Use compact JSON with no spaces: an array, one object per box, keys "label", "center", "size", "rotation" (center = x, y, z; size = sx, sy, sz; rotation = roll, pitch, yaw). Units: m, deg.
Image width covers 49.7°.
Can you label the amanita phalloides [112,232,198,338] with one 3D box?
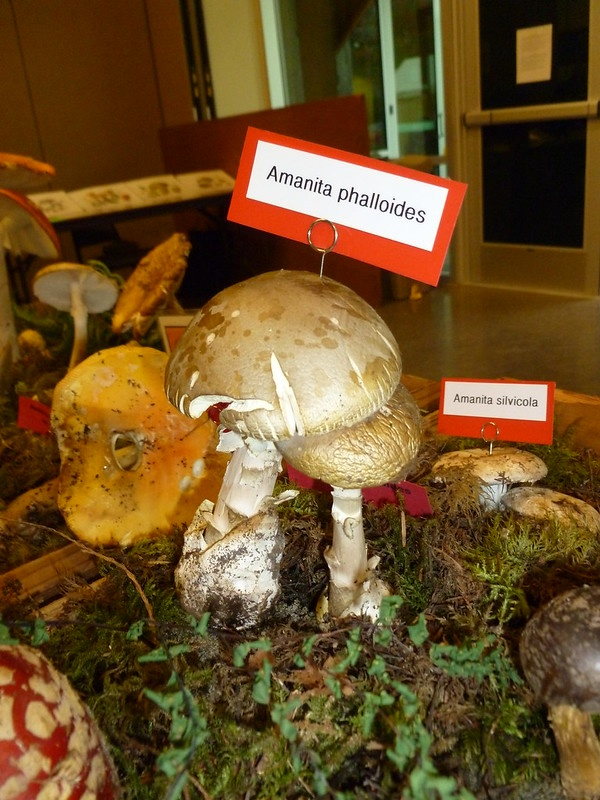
[{"label":"amanita phalloides","center":[-0.343,-0.257,1.485],"size":[0.068,0.243,0.168],"rotation":[28,4,-28]}]

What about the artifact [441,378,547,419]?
[{"label":"artifact","center":[0.326,-0.001,1.082],"size":[0.166,0.060,0.029],"rotation":[5,28,23]}]

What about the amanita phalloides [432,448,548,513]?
[{"label":"amanita phalloides","center":[0.284,0.102,0.989],"size":[0.124,0.062,0.129],"rotation":[6,15,43]}]

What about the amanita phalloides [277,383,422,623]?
[{"label":"amanita phalloides","center":[0.063,0.157,0.835],"size":[0.166,0.262,0.163],"rotation":[1,2,27]}]
